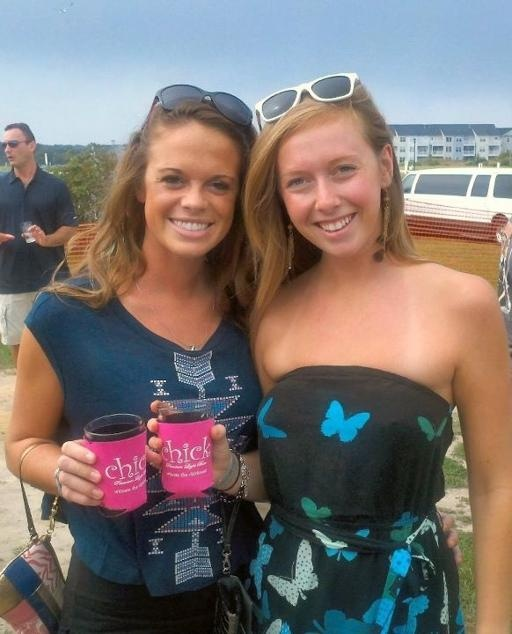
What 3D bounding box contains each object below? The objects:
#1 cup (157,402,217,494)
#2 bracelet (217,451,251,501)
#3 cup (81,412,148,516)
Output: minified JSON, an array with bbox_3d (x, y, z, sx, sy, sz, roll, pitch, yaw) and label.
[{"bbox_3d":[-0.210,0.401,1.787,0.260,0.248,0.235,-2,-6,1],"label":"cup"},{"bbox_3d":[-0.090,0.534,1.967,0.044,0.143,0.114,0,20,-18],"label":"bracelet"},{"bbox_3d":[-0.392,0.415,1.645,0.163,0.270,0.117,-4,14,-15],"label":"cup"}]
